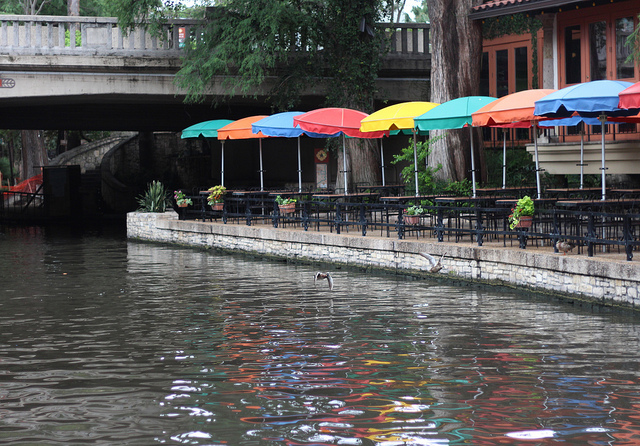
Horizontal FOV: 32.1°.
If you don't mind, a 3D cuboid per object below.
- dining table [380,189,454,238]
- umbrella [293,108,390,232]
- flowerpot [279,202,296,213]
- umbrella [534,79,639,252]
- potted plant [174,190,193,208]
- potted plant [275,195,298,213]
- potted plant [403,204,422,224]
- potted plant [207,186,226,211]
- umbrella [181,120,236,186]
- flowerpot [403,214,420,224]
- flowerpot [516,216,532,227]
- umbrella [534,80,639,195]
[{"bbox_3d":[2.276,-0.244,27.788,0.631,0.766,1.718,29,-19,-34],"label":"dining table"},{"bbox_3d":[-0.049,-1.608,30.076,3.277,3.106,3.161,2,5,19],"label":"umbrella"},{"bbox_3d":[-0.879,-0.404,30.307,0.343,0.139,0.248,-3,-3,37],"label":"flowerpot"},{"bbox_3d":[5.889,-1.333,24.242,2.215,3.566,3.225,0,10,11],"label":"umbrella"},{"bbox_3d":[-4.208,-0.733,33.813,0.576,0.355,0.545,9,9,37],"label":"potted plant"},{"bbox_3d":[-0.914,-0.520,30.348,0.450,0.334,0.529,-3,2,-22],"label":"potted plant"},{"bbox_3d":[2.218,-0.208,26.987,0.463,0.413,0.442,0,-4,-7],"label":"potted plant"},{"bbox_3d":[-3.068,-0.762,33.081,0.670,0.670,0.744,-2,-2,43],"label":"potted plant"},{"bbox_3d":[-4.237,-2.709,43.136,3.471,2.884,3.080,-1,3,-3],"label":"umbrella"},{"bbox_3d":[2.266,-0.104,26.933,0.329,0.241,0.417,-3,9,-9],"label":"flowerpot"},{"bbox_3d":[4.560,-0.024,24.652,0.296,0.296,0.592,2,10,21],"label":"flowerpot"},{"bbox_3d":[5.933,-1.938,24.521,2.798,2.357,2.756,-10,6,-41],"label":"umbrella"}]
